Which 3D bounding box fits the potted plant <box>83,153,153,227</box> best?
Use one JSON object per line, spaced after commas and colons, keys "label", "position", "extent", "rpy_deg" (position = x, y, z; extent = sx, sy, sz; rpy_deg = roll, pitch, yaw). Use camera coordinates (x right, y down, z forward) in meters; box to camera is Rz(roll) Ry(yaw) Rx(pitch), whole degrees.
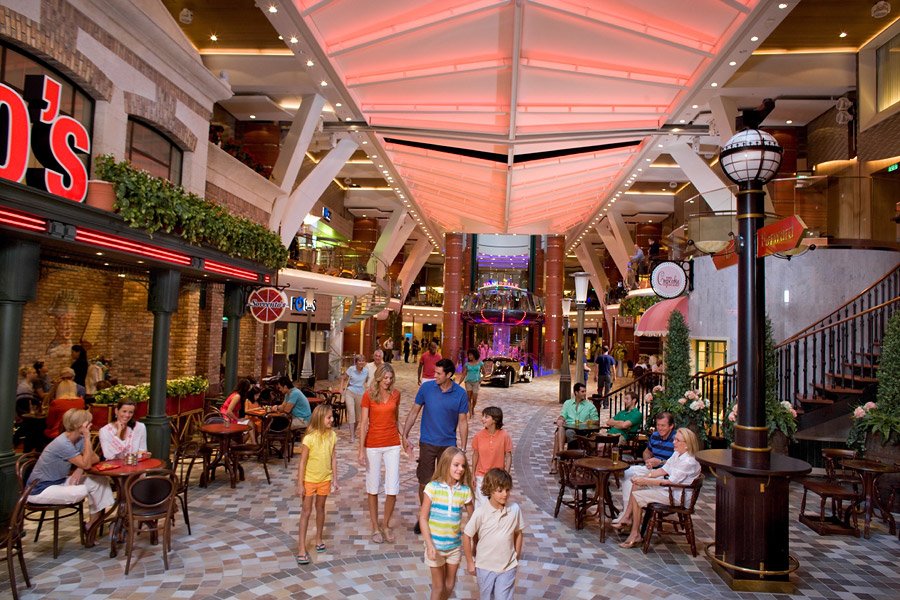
{"label": "potted plant", "position": [-5.661, -1.866, 11.380], "extent": [0.819, 1.251, 0.646], "rpy_deg": [-1, 6, -25]}

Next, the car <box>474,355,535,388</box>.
{"label": "car", "position": [2.554, 3.262, 30.105], "extent": [1.551, 0.856, 2.822], "rpy_deg": [1, 0, 22]}

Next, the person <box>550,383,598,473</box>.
{"label": "person", "position": [2.677, 2.640, 13.826], "extent": [0.950, 1.578, 0.952], "rpy_deg": [-1, 4, -12]}

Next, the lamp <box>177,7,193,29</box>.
{"label": "lamp", "position": [-6.586, -7.018, 16.297], "extent": [0.345, 0.545, 0.370], "rpy_deg": [2, -11, -23]}
